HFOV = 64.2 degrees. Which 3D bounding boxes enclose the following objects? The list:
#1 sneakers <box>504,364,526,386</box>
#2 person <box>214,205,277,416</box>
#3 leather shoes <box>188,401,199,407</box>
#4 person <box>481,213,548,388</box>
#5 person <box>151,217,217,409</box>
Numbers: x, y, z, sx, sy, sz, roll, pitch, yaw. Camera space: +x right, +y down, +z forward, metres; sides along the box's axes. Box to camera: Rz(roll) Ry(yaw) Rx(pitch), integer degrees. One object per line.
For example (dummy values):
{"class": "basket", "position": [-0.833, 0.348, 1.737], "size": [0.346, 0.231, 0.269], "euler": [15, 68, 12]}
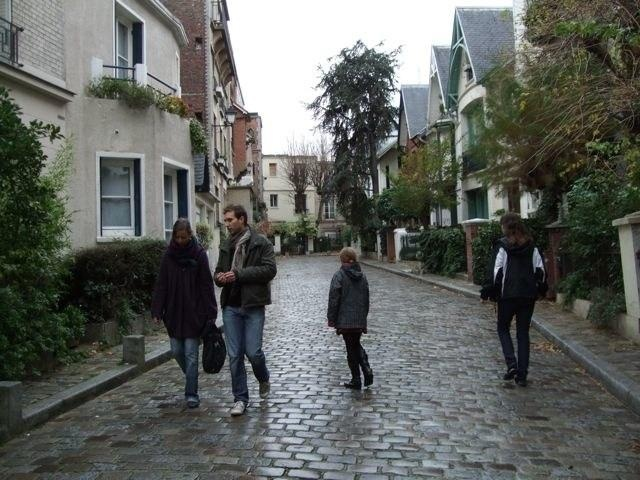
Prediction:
{"class": "sneakers", "position": [2.547, 1.790, 6.662], "size": [0.121, 0.162, 0.352], "euler": [-2, 1, -3]}
{"class": "person", "position": [-0.863, 0.753, 5.921], "size": [0.717, 1.757, 0.610], "euler": [-1, 1, -13]}
{"class": "leather shoes", "position": [-1.478, 1.929, 5.909], "size": [0.127, 0.056, 0.062], "euler": [-1, 1, -14]}
{"class": "person", "position": [2.600, 0.746, 6.807], "size": [0.833, 2.272, 0.639], "euler": [-1, 1, -44]}
{"class": "person", "position": [-1.615, 0.841, 6.052], "size": [0.754, 1.807, 0.389], "euler": [-1, 1, -8]}
